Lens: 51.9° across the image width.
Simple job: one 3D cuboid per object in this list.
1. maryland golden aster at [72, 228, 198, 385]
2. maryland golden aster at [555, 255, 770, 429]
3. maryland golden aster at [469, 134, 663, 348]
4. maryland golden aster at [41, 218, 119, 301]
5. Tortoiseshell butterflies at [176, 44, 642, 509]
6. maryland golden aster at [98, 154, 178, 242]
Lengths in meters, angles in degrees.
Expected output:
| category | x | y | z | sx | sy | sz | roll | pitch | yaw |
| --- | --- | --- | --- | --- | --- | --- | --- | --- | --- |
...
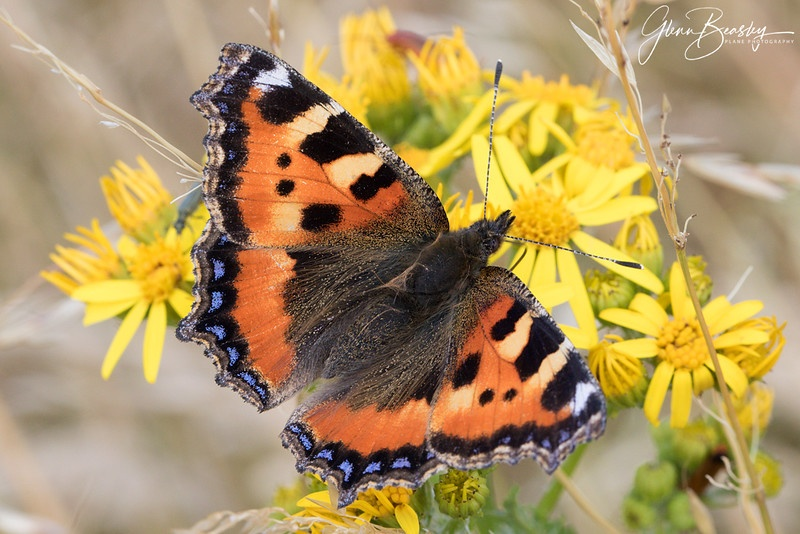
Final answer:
| category | x | y | z | sx | sy | sz | roll | pitch | yaw |
| --- | --- | --- | --- | --- | --- | --- | --- | --- | --- |
| maryland golden aster | -1.137 | 0.102 | 3.808 | 0.439 | 0.725 | 0.560 | -4 | 14 | -8 |
| maryland golden aster | 1.230 | 0.338 | 3.597 | 1.018 | 0.244 | 0.883 | -6 | 19 | -15 |
| maryland golden aster | 0.737 | -0.223 | 3.805 | 0.816 | 0.989 | 0.653 | 4 | 22 | 5 |
| maryland golden aster | -1.418 | -0.010 | 3.698 | 0.230 | 0.349 | 0.308 | 28 | 42 | 18 |
| Tortoiseshell butterflies | -0.126 | 0.139 | 3.722 | 1.413 | 2.583 | 0.629 | -42 | 15 | -10 |
| maryland golden aster | -1.268 | -0.318 | 3.983 | 0.309 | 0.138 | 0.484 | 18 | 54 | -16 |
